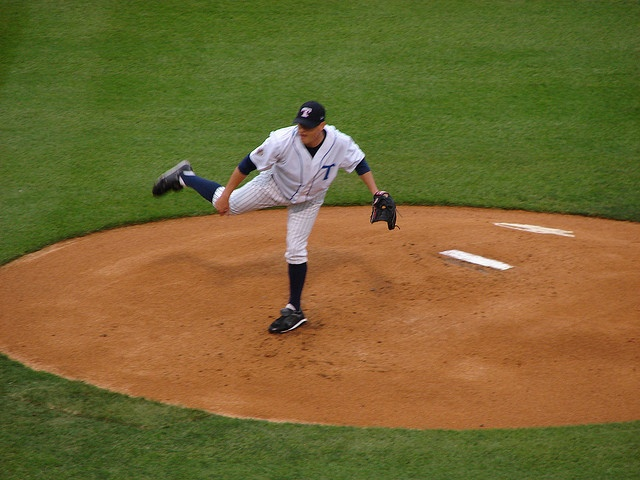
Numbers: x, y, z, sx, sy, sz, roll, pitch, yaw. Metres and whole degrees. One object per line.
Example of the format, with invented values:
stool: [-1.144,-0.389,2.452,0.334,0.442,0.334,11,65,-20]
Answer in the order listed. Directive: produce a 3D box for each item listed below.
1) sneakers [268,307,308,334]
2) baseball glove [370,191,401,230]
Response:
sneakers: [-0.300,0.736,5.855,0.231,0.105,0.391,23,31,39]
baseball glove: [0.603,-0.295,6.090,0.359,0.315,0.231,3,20,20]
